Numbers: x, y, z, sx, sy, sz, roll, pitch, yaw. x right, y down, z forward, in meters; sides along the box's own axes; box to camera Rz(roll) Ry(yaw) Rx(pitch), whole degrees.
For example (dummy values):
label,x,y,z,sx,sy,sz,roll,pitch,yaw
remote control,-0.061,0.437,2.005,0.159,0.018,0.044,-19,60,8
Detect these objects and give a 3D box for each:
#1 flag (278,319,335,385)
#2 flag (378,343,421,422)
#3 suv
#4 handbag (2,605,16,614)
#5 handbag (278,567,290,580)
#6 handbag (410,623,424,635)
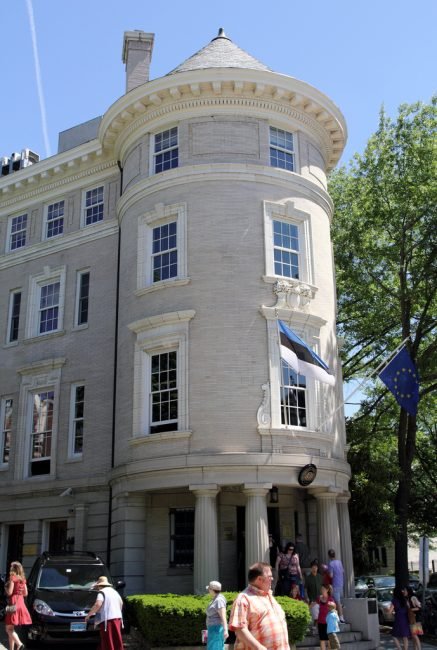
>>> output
label,x,y,z,sx,sy,sz,roll,pitch,yaw
flag,2.368,0.730,18.218,1.750,1.709,0.234,33,-62,-23
flag,5.140,1.479,18.802,0.606,2.255,1.719,-18,-26,32
suv,-2.987,5.335,13.048,1.687,1.273,2.713,7,-35,-9
handbag,-3.458,4.714,10.963,0.228,0.138,0.105,-21,-28,39
handbag,1.684,6.273,16.709,0.342,0.318,0.188,-21,-44,35
handbag,4.500,6.879,14.983,0.196,0.258,0.663,-12,-23,22
